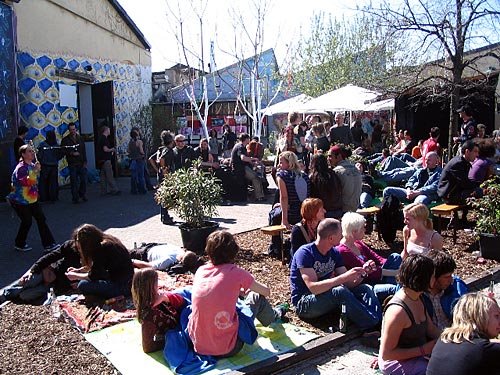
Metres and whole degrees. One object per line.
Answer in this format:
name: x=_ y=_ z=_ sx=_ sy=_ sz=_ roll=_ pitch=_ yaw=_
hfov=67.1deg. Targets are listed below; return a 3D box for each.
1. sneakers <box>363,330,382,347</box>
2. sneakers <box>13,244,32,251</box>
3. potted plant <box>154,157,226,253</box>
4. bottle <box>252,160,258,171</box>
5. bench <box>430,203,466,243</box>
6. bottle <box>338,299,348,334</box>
sneakers: x=1.335 y=1.664 z=4.188 sx=0.200 sy=0.146 sz=0.192 roll=2 pitch=10 yaw=19
sneakers: x=-4.459 y=1.177 z=7.421 sx=0.319 sy=0.158 sz=0.128 roll=-1 pitch=0 yaw=0
potted plant: x=-1.123 y=0.423 z=7.398 sx=1.348 sy=1.595 sz=1.283 roll=-3 pitch=1 yaw=-3
bottle: x=0.131 y=-0.666 z=11.581 sx=0.177 sy=0.240 sz=0.246 roll=0 pitch=-3 yaw=-2
bench: x=3.915 y=0.758 z=7.536 sx=0.632 sy=0.691 sz=0.465 roll=-9 pitch=-5 yaw=-5
bottle: x=1.075 y=1.467 z=4.334 sx=0.099 sy=0.327 sz=0.239 roll=2 pitch=10 yaw=15
